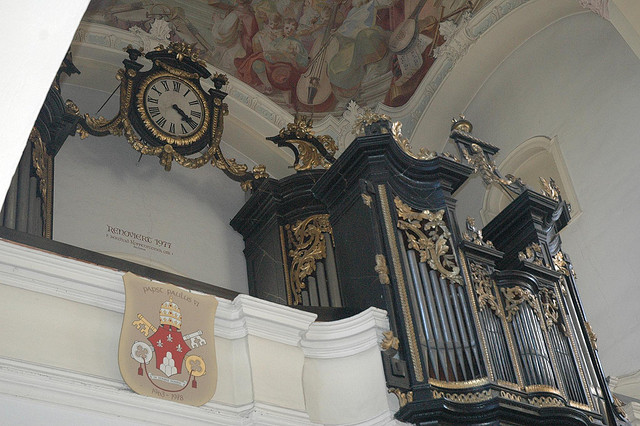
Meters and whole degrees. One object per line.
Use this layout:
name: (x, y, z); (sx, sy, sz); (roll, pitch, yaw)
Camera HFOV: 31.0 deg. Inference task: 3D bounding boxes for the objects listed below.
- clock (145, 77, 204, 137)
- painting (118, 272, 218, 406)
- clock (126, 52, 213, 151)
clock: (-1.815, -1.318, 14.573); (1.001, 0.973, 0.071); (14, -22, -33)
painting: (-1.479, 1.311, 11.451); (1.147, 1.312, 0.039); (20, -37, -32)
clock: (-1.816, -1.424, 14.594); (1.089, 0.178, 1.457); (13, -54, 4)
